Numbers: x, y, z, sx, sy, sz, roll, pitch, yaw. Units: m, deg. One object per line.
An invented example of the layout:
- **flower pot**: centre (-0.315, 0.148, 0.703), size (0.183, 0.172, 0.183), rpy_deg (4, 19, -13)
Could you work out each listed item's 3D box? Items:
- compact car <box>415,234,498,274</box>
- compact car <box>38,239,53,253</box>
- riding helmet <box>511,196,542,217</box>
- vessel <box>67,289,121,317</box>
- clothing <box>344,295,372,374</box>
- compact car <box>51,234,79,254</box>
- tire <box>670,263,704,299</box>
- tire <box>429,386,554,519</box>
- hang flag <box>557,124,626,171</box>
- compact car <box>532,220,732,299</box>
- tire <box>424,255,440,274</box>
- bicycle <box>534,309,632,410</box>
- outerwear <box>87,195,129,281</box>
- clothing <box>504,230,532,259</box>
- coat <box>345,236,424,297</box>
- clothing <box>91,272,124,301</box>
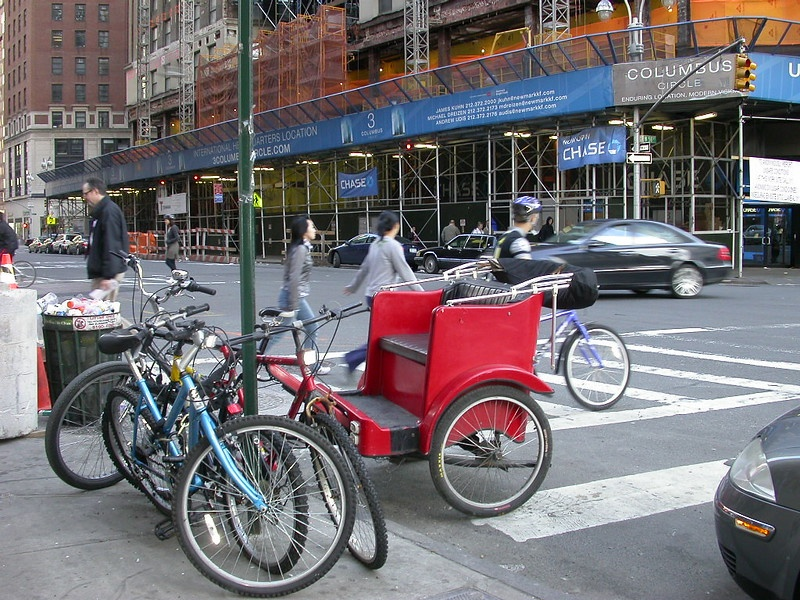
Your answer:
- **compact car**: centre (1.844, -1.606, 26.926), size (1.415, 1.178, 3.165), rpy_deg (-6, 7, -42)
- **compact car**: centre (-29.341, -4.408, 64.713), size (1.147, 1.053, 2.797), rpy_deg (-4, 13, -32)
- **riding helmet**: centre (1.299, -0.935, 7.929), size (0.290, 0.167, 0.228), rpy_deg (5, 8, -40)
- **vessel**: centre (-2.856, 0.054, 7.240), size (0.377, 0.270, 0.532), rpy_deg (1, 6, -15)
- **clothing**: centre (-0.342, 0.358, 6.985), size (0.172, 0.782, 0.267), rpy_deg (15, 34, 11)
- **compact car**: centre (-25.886, -4.111, 60.340), size (1.625, 1.344, 3.732), rpy_deg (-2, 7, -31)
- **tire**: centre (6.285, -0.448, 17.117), size (0.629, 0.704, 0.229), rpy_deg (-4, 9, -17)
- **tire**: centre (0.614, 1.060, 5.427), size (0.708, 0.793, 0.227), rpy_deg (10, 5, 6)
- **hang flag**: centre (6.200, -4.922, 25.247), size (0.580, 1.208, 2.360), rpy_deg (-5, 5, -36)
- **compact car**: centre (5.194, -0.853, 16.948), size (3.992, 1.800, 0.593), rpy_deg (-4, 4, -16)
- **tire**: centre (1.141, -1.254, 27.510), size (0.231, 0.727, 0.674), rpy_deg (0, -2, -27)
- **bicycle**: centre (2.048, 0.618, 8.278), size (1.352, 0.927, 0.685), rpy_deg (-10, 2, -20)
- **outerwear**: centre (-3.295, -0.665, 8.789), size (0.432, 0.958, 0.912), rpy_deg (1, -3, -30)
- **clothing**: centre (1.183, -0.587, 7.592), size (0.178, 0.361, 0.350), rpy_deg (-4, 5, -23)
- **coat**: centre (-0.177, -0.377, 8.506), size (0.449, 0.494, 0.992), rpy_deg (-4, 6, -34)
- **clothing**: centre (-3.210, -0.169, 8.555), size (0.279, 0.529, 0.351), rpy_deg (-2, 16, -24)
